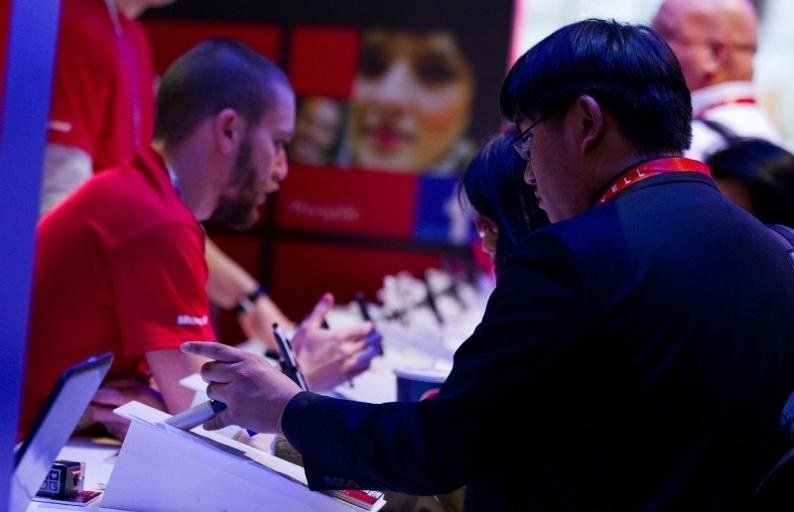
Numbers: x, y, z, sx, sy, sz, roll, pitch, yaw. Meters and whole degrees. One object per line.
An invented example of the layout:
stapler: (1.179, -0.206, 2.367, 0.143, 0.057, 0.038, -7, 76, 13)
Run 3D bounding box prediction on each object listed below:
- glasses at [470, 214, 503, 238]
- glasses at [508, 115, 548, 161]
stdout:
glasses: (0.183, -0.066, 1.719, 0.044, 0.047, 0.039, 9, 18, 20)
glasses: (0.233, -0.205, 1.445, 0.016, 0.057, 0.054, 45, -10, -6)
